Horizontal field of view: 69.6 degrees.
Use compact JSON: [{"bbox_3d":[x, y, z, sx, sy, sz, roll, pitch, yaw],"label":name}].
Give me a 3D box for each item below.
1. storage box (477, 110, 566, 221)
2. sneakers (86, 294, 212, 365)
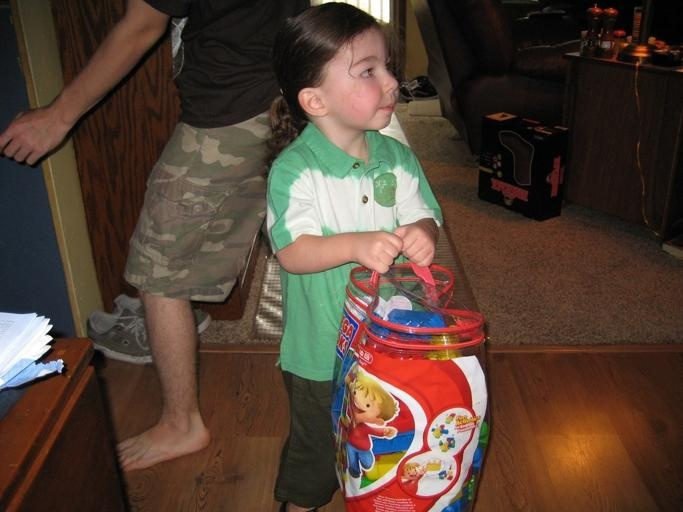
[{"bbox_3d":[1.036,-0.506,2.799,0.189,0.510,0.484,-16,30,-36],"label":"storage box"},{"bbox_3d":[-0.677,0.315,1.811,0.386,0.179,0.250,14,44,10],"label":"sneakers"}]
